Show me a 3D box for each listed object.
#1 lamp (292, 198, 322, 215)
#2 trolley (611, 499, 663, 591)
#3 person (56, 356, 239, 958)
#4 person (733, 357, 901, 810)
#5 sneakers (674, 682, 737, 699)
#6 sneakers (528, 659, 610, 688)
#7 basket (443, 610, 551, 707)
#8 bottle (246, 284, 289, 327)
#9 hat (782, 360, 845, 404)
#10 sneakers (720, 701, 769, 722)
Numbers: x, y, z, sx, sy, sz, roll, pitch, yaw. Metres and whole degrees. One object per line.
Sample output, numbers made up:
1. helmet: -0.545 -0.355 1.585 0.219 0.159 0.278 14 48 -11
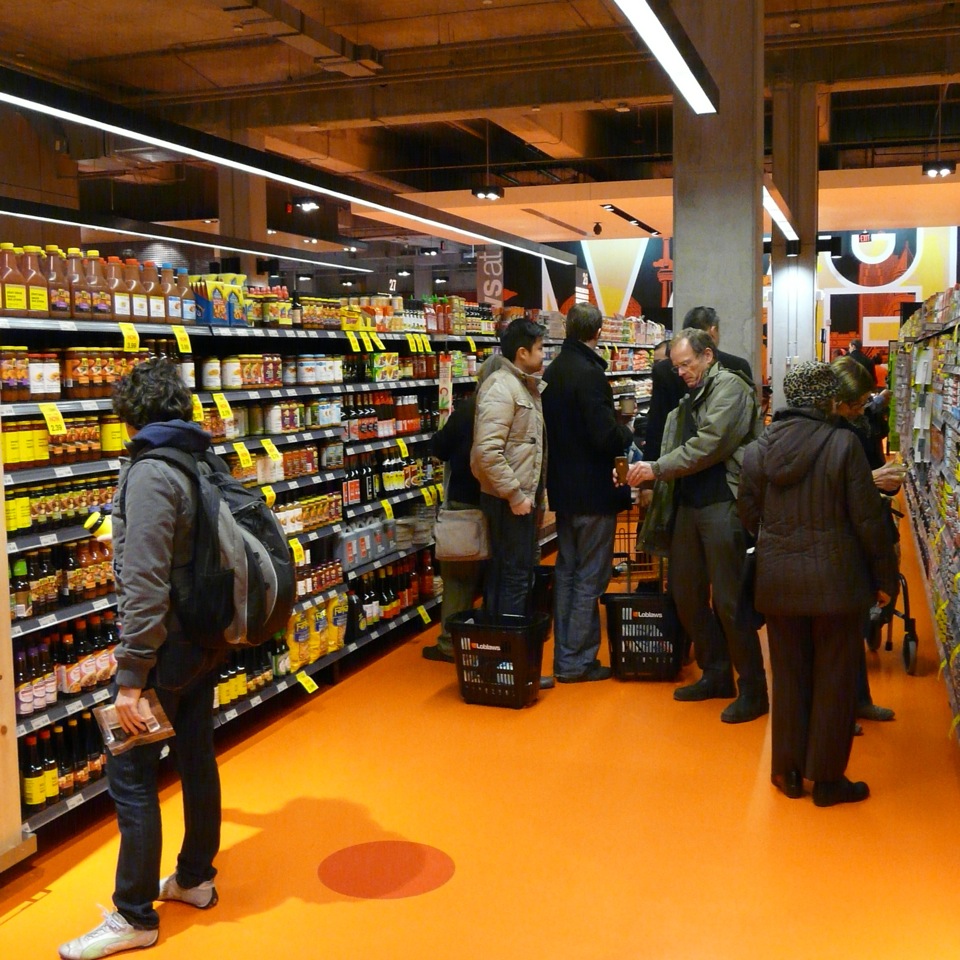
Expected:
1. lamp: -2.987 -4.687 13.205 0.495 0.168 0.465 8 15 26
2. trolley: 1.132 0.490 5.605 0.468 0.574 0.849 1 1 4
3. person: -0.960 0.519 2.297 0.426 1.202 0.528 -1 1 5
4. person: 1.344 0.443 3.135 0.581 1.830 0.366 -1 2 38
5. sneakers: 1.303 1.243 4.553 0.359 0.134 0.118 1 4 -4
6. sneakers: 0.573 1.223 4.893 0.483 0.193 0.160 -11 9 -7
7. basket: 0.129 1.061 4.649 0.599 0.483 0.414 -1 -1 35
8. bottle: -1.218 -0.982 4.419 0.162 0.260 0.279 5 9 25
9. hat: 1.403 -0.363 3.202 0.219 0.208 0.205 -12 19 -12
10. sneakers: 1.427 1.249 4.213 0.261 0.099 0.092 -1 1 -20
